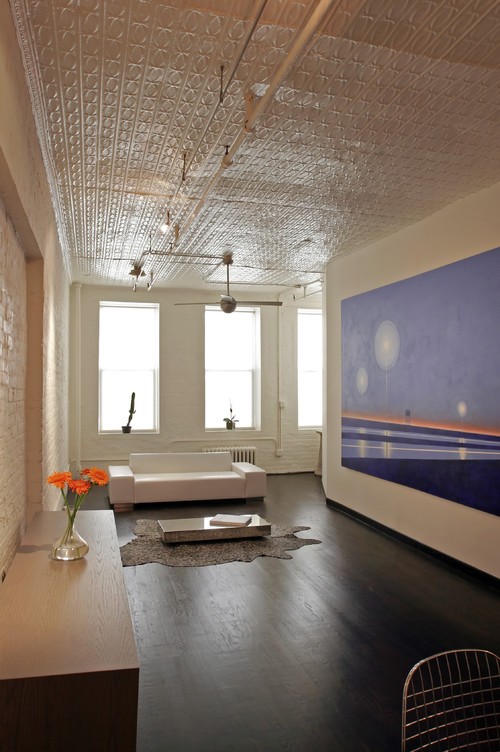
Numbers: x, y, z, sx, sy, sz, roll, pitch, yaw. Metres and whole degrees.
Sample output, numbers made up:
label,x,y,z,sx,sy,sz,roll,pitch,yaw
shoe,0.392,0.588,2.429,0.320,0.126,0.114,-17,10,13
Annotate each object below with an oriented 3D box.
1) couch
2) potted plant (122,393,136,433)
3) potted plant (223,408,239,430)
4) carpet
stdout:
label,x,y,z,sx,sy,sz,roll,pitch,yaw
couch,-1.060,1.667,7.183,2.334,0.803,0.916,3,-6,-19
potted plant,-2.496,0.744,9.143,0.248,0.855,0.351,2,-6,-15
potted plant,-0.429,0.902,9.695,0.377,0.669,0.365,0,0,10
carpet,-0.362,1.873,4.918,2.073,0.099,1.261,3,-6,-12
